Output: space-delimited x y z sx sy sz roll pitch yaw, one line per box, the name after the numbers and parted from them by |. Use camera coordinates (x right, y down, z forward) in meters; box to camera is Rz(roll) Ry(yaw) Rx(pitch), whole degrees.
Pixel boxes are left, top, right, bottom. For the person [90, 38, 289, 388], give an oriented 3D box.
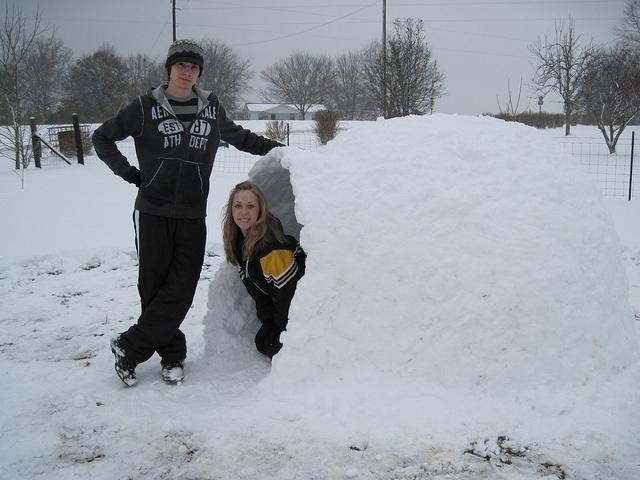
-1.181 -0.211 4.805 1.208 2.683 0.554 0 8 -25 | person

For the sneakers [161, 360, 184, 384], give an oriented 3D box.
-1.164 1.053 4.748 0.111 0.101 0.193 3 -25 -12 | sneakers

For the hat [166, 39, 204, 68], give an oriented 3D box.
-1.059 -1.434 4.699 0.293 0.221 0.225 1 8 -18 | hat
